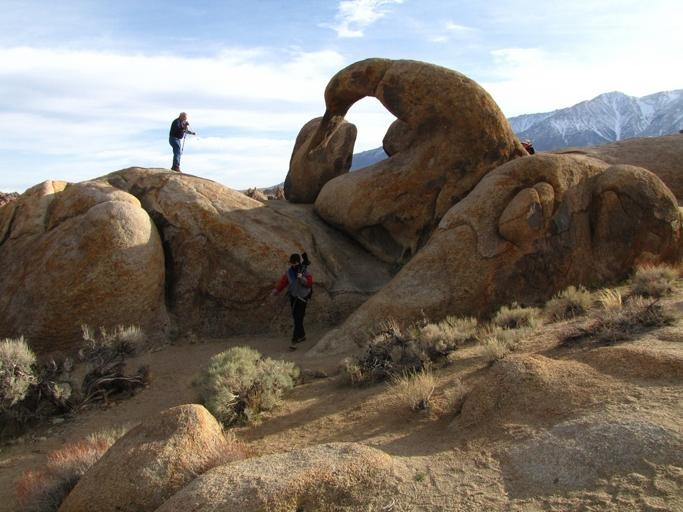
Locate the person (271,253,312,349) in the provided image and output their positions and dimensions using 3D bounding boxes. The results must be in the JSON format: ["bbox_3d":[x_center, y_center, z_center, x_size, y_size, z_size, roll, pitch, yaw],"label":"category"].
[{"bbox_3d":[-1.012,0.880,13.583,0.743,1.897,1.331,-2,9,-3],"label":"person"}]

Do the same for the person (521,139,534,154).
[{"bbox_3d":[4.658,-2.723,15.816,0.221,0.302,1.427,1,9,18],"label":"person"}]
